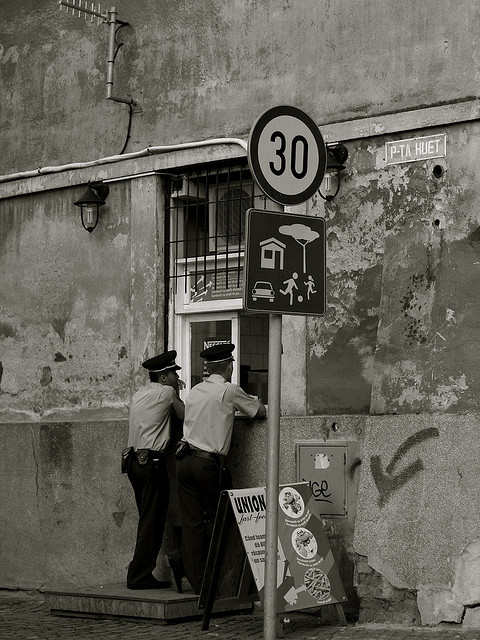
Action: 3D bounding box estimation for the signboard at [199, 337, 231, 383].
[{"bbox_3d":[-0.176,0.373,10.923,0.248,0.057,0.553,5,42,-1],"label":"signboard"}]

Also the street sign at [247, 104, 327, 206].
[{"bbox_3d":[0.278,-0.939,7.856,0.573,0.574,0.117,5,-1,-43],"label":"street sign"}]

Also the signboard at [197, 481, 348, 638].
[{"bbox_3d":[0.221,1.626,9.249,0.922,1.048,0.675,4,0,-34],"label":"signboard"}]

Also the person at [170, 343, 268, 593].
[{"bbox_3d":[-0.200,1.078,10.148,0.470,1.804,0.452,3,0,-35],"label":"person"}]

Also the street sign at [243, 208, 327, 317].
[{"bbox_3d":[0.274,-0.339,7.766,0.460,0.691,0.063,3,37,4],"label":"street sign"}]

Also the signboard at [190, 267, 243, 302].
[{"bbox_3d":[-0.193,-0.277,11.067,0.076,0.285,0.621,3,2,-42],"label":"signboard"}]
